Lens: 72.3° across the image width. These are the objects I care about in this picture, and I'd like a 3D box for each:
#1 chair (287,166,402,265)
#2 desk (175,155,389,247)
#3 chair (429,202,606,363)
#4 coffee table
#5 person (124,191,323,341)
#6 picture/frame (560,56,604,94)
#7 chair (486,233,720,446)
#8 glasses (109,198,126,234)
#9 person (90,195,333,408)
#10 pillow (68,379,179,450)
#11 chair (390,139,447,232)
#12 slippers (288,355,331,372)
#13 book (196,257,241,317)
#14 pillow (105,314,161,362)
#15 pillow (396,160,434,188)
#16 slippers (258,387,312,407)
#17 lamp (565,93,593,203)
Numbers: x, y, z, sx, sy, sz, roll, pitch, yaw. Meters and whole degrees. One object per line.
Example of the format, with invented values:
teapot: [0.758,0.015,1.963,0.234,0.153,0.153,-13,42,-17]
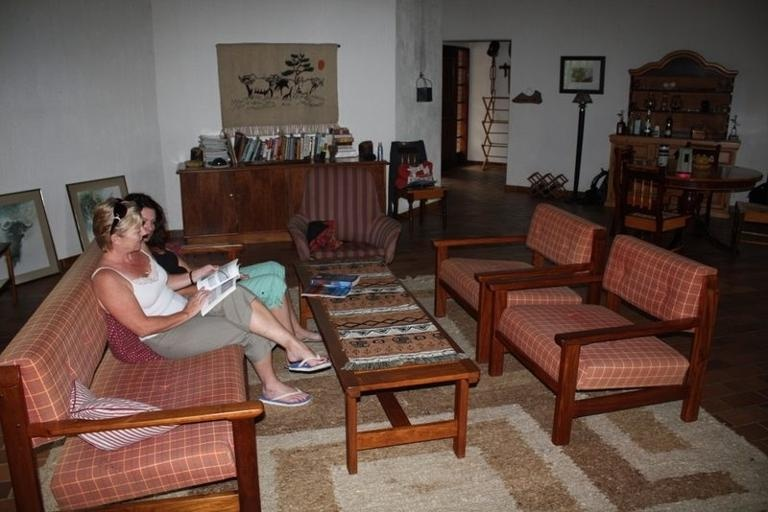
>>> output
chair: [-0.421,-0.439,5.578,1.158,0.846,0.883,0,23,-7]
desk: [-1.495,-0.780,7.723,3.079,1.153,0.744,-6,18,-26]
chair: [1.131,0.172,4.616,1.154,0.999,1.352,-5,15,-4]
coffee table: [-0.080,0.724,4.132,0.846,0.582,2.201,-1,15,-14]
person: [-1.200,-0.047,4.433,1.425,1.599,1.111,-4,22,-14]
picture/frame: [3.638,-3.292,9.543,0.915,0.674,0.065,3,11,12]
chair: [1.533,0.486,4.095,1.657,1.418,1.491,-4,18,-12]
glasses: [-1.641,-0.255,3.243,0.059,0.168,0.178,0,9,-30]
person: [-1.112,0.331,3.604,1.654,1.106,0.688,10,24,-11]
pillow: [-1.330,0.814,2.681,0.419,0.119,0.342,17,34,-34]
chair: [0.543,-1.076,7.911,0.832,1.231,0.777,-10,20,-32]
slippers: [-0.540,0.778,3.736,0.266,0.071,0.139,1,12,20]
book: [-1.094,0.192,3.510,0.317,0.113,0.452,-32,39,6]
pillow: [-1.623,0.528,3.533,0.348,0.286,0.250,-2,16,-10]
pillow: [0.464,-1.191,7.843,0.484,0.191,0.443,-3,14,-7]
slippers: [-0.707,1.025,3.821,0.376,0.088,0.193,1,16,3]
lamp: [3.548,-1.998,9.559,0.336,1.852,0.781,6,19,19]
